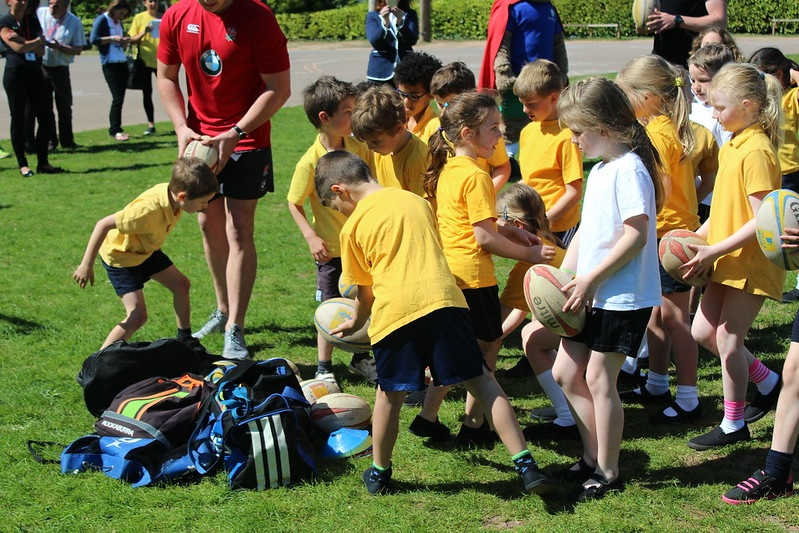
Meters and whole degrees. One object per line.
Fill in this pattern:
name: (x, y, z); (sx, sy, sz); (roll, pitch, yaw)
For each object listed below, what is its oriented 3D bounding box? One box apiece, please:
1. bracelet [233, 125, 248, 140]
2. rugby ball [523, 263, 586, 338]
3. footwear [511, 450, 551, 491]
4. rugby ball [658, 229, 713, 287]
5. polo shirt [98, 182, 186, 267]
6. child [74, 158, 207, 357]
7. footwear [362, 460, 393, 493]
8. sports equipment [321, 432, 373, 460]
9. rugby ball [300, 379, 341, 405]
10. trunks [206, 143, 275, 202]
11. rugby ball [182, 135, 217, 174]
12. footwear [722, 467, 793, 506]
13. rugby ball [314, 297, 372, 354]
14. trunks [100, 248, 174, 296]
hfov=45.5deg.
bracelet: (-1.363, -1.160, 8.222); (0.085, 0.118, 0.120); (4, 12, 19)
rugby ball: (1.015, 0.240, 6.859); (0.376, 0.316, 0.524); (-9, 55, -44)
footwear: (0.882, 1.477, 6.696); (0.174, 0.368, 0.215); (-11, 16, -41)
rugby ball: (2.079, -0.045, 7.274); (0.318, 0.437, 0.422); (-2, 12, -10)
polo shirt: (-2.156, -0.337, 8.015); (0.655, 0.702, 0.309); (-4, 13, -18)
child: (-2.443, -0.020, 9.136); (1.254, 1.977, 1.286); (11, 36, -11)
footwear: (-0.181, 1.544, 6.945); (0.111, 0.126, 0.305); (3, 9, -11)
sports equipment: (-0.424, 1.360, 7.298); (0.245, 0.078, 0.239); (15, 35, 37)
rugby ball: (-0.669, 1.010, 7.661); (0.186, 0.126, 0.231); (-5, 0, 22)
trunks: (-1.429, -0.837, 8.572); (0.704, 0.463, 0.428); (-8, 23, -9)
rugby ball: (-1.736, -0.976, 8.244); (0.466, 0.233, 0.286); (2, 33, -19)
footwear: (2.508, 1.574, 6.802); (0.580, 0.189, 0.191); (-4, 3, -3)
rugby ball: (-0.466, 0.497, 7.632); (0.400, 0.403, 0.563); (-3, 12, -14)
trunks: (-2.275, 0.053, 8.378); (0.418, 0.299, 0.217); (-21, -11, -30)
